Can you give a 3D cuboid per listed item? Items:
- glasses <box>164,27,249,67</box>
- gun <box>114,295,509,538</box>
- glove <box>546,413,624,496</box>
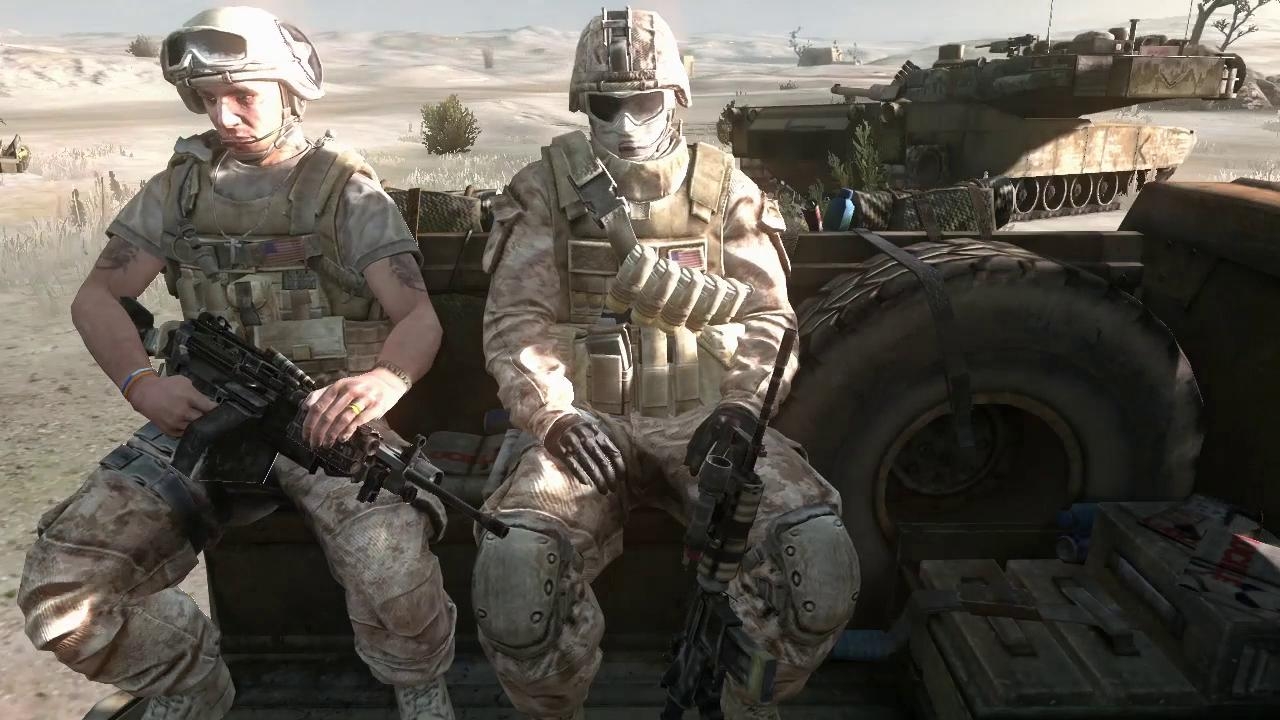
[{"bbox_3d":[-2.504,-1.798,5.213,0.488,0.210,0.149,4,21,8],"label":"glasses"},{"bbox_3d":[-2.002,0.421,5.042,2.758,0.839,0.441,22,13,20],"label":"gun"},{"bbox_3d":[-0.333,0.555,5.243,0.350,0.180,0.465,-37,79,-22],"label":"glove"}]
